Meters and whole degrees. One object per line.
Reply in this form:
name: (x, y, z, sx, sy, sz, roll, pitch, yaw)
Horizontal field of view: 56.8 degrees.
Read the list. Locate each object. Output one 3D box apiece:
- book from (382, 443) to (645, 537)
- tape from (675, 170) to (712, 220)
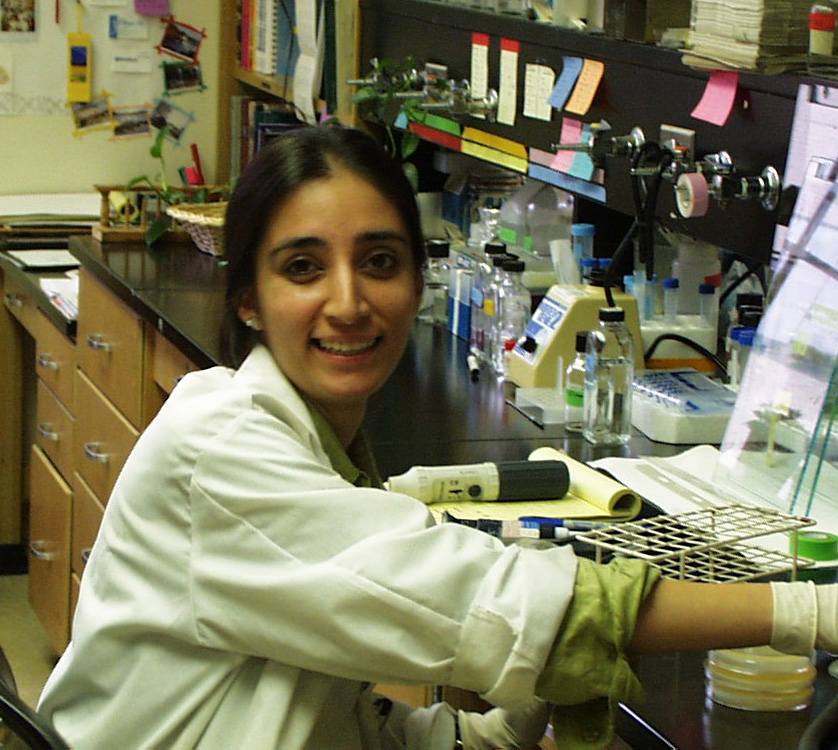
book: (0.119, 0.171, 1.218, 0.347, 0.065, 0.370, 0, 3, -11)
tape: (0.476, -0.317, 1.356, 0.022, 0.078, 0.074, -8, 21, -3)
